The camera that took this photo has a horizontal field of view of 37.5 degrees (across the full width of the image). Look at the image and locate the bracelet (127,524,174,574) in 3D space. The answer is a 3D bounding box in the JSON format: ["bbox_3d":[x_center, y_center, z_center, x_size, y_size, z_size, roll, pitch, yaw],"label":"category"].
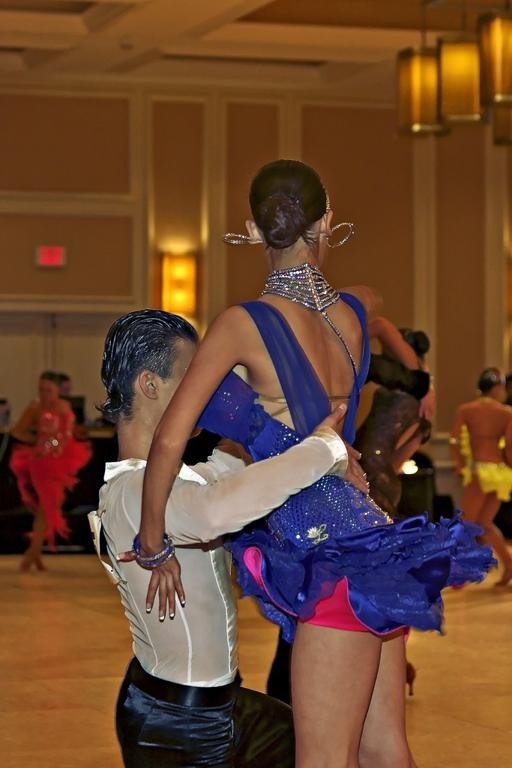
[{"bbox_3d":[-0.150,0.230,1.078,0.055,0.025,0.061,-14,45,-18],"label":"bracelet"}]

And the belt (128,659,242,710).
[{"bbox_3d":[-0.112,0.433,1.101,0.177,0.047,0.108,0,-4,1],"label":"belt"}]
